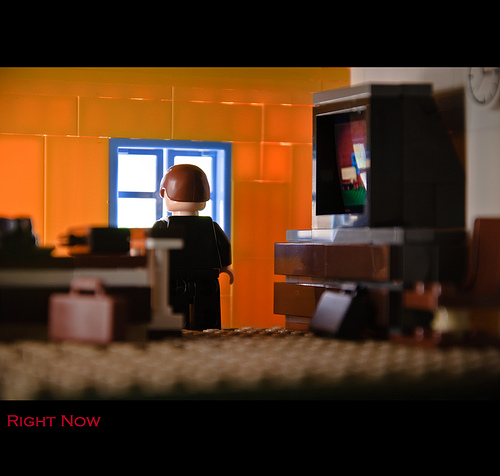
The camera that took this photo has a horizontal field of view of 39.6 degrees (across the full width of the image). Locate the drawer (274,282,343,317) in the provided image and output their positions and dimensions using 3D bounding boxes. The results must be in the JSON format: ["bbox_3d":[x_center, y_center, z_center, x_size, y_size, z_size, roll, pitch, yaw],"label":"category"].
[{"bbox_3d":[0.275,0.267,3.328,0.206,0.189,0.287,-1,-2,-17],"label":"drawer"}]

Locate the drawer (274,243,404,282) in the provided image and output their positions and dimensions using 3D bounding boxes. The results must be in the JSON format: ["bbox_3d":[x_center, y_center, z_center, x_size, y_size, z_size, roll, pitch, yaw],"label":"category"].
[{"bbox_3d":[0.373,0.108,3.032,0.135,0.174,0.780,4,-4,-37],"label":"drawer"}]

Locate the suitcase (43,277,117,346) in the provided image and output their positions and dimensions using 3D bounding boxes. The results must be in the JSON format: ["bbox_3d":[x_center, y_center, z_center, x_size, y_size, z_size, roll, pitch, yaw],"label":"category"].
[{"bbox_3d":[-0.564,0.260,2.392,0.204,0.237,0.160,3,-4,0],"label":"suitcase"}]

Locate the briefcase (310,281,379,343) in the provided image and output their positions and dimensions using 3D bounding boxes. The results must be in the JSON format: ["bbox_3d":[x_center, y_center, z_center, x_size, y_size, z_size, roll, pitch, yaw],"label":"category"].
[{"bbox_3d":[0.361,0.308,2.738,0.139,0.250,0.250,36,-14,-22],"label":"briefcase"}]
